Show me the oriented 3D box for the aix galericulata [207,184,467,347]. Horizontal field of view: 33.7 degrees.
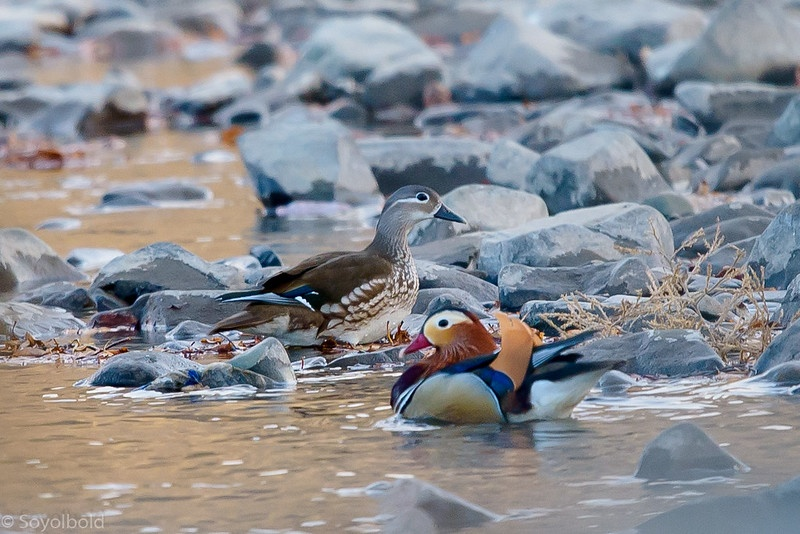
[{"bbox_3d":[-0.584,0.015,12.865,2.157,1.541,0.731,-7,9,-34],"label":"aix galericulata"}]
